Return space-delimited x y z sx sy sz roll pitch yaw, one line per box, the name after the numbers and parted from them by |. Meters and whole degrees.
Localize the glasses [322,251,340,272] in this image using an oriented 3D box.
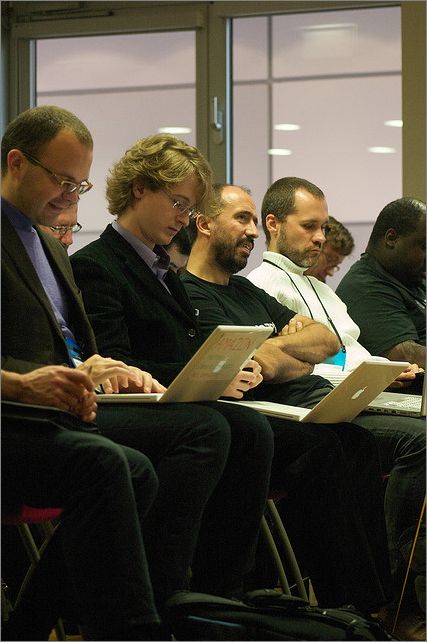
0.709 -0.363 3.712 0.105 0.082 0.120 -1 32 -22 | glasses

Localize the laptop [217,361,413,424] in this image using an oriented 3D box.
0.284 0.146 1.552 0.277 0.153 0.269 13 3 36 | laptop

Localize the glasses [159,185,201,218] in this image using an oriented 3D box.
-0.088 -0.332 1.702 0.065 0.021 0.066 54 18 12 | glasses

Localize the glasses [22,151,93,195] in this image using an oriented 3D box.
-0.335 -0.299 1.285 0.093 0.027 0.091 36 5 21 | glasses

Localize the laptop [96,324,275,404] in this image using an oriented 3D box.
-0.047 0.107 1.246 0.234 0.124 0.225 0 -11 29 | laptop
